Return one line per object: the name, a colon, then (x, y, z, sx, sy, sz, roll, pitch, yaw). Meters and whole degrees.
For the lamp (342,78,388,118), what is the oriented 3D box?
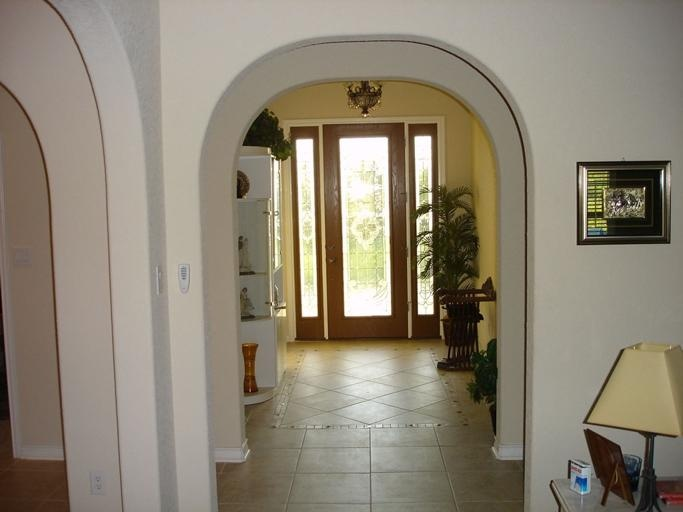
lamp: (0.277, -1.976, 6.521, 0.364, 0.605, 0.370, 0, 10, 18)

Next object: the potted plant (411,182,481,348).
potted plant: (1.402, 0.078, 7.410, 0.832, 2.033, 1.409, 0, 8, 9)

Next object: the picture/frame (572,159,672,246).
picture/frame: (1.678, -0.337, 3.279, 0.447, 0.513, 0.034, 0, 3, 2)

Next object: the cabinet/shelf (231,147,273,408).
cabinet/shelf: (-0.863, 0.198, 5.794, 0.388, 2.665, 0.533, -2, 7, -7)

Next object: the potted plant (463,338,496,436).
potted plant: (1.237, 1.178, 4.776, 0.264, 0.601, 0.260, 3, -24, -25)
